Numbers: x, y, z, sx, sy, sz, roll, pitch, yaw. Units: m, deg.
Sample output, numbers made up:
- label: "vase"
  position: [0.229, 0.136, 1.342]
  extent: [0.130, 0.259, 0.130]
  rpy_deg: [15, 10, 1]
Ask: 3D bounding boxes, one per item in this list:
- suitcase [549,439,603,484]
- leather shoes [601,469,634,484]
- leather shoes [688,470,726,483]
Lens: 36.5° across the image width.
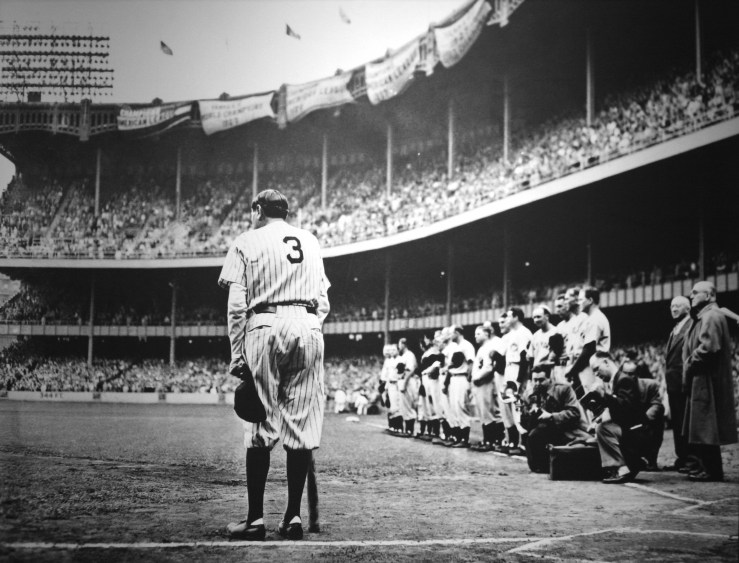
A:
- label: "suitcase"
  position: [4.118, 3.668, 23.015]
  extent: [1.143, 0.755, 0.655]
  rpy_deg: [1, -4, -8]
- label: "leather shoes"
  position: [4.966, 3.883, 22.398]
  extent: [0.661, 0.287, 0.252]
  rpy_deg: [-3, -12, 8]
- label: "leather shoes"
  position: [6.799, 3.926, 22.598]
  extent: [0.631, 0.239, 0.265]
  rpy_deg: [-3, -12, 8]
